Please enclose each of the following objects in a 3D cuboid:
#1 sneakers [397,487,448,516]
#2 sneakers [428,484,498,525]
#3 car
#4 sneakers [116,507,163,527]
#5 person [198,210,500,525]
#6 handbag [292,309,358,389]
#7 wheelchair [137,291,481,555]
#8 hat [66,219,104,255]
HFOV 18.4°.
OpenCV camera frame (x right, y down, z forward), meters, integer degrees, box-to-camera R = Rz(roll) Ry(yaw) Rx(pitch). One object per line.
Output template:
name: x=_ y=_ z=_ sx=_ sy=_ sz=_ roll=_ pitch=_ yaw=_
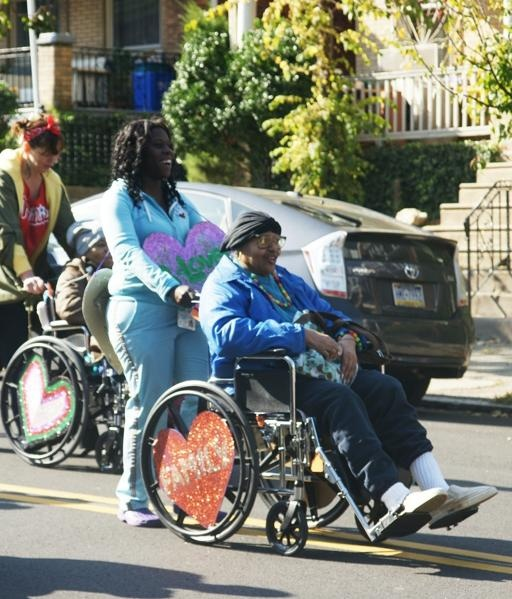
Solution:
sneakers: x=0.880 y=1.051 z=8.425 sx=0.126 sy=0.109 sz=0.316 roll=50 pitch=29 yaw=23
sneakers: x=1.135 y=1.125 z=8.730 sx=0.437 sy=0.202 sz=0.159 roll=-28 pitch=-39 yaw=35
car: x=0.324 y=-0.186 z=11.862 sx=2.331 sy=0.855 sz=1.149 roll=27 pitch=17 yaw=35
sneakers: x=-0.669 y=1.295 z=9.358 sx=0.244 sy=0.193 sz=0.102 roll=-3 pitch=-5 yaw=15
person: x=0.433 y=0.417 z=8.882 sx=1.527 sy=1.838 sz=0.844 roll=0 pitch=8 yaw=43
handbag: x=0.373 y=0.257 z=8.978 sx=0.163 sy=0.408 sz=0.385 roll=-18 pitch=-19 yaw=38
wheelchair: x=0.194 y=0.659 z=9.030 sx=1.699 sy=1.607 sz=0.986 roll=-1 pitch=-1 yaw=42
hat: x=-1.184 y=-0.423 z=11.019 sx=0.215 sy=0.220 sz=0.187 roll=-24 pitch=6 yaw=28
